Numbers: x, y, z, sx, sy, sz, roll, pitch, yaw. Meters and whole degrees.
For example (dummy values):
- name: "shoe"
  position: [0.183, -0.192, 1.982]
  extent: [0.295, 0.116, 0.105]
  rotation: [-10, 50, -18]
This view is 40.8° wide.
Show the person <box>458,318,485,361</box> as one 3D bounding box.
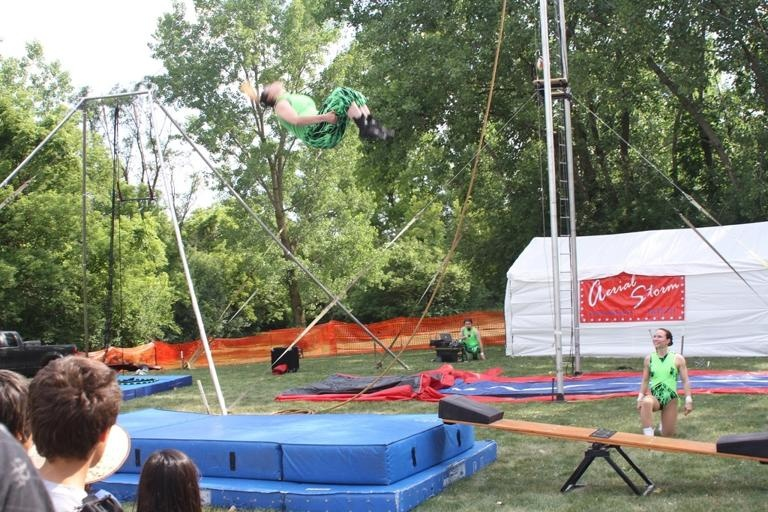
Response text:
- name: "person"
  position: [2.871, 2.803, 34.625]
  extent: [0.932, 1.403, 0.720]
  rotation: [-7, 9, 15]

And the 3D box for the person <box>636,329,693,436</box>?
- name: "person"
  position: [6.631, 3.031, 24.714]
  extent: [1.309, 1.888, 0.635]
  rotation: [-4, -3, -7]
